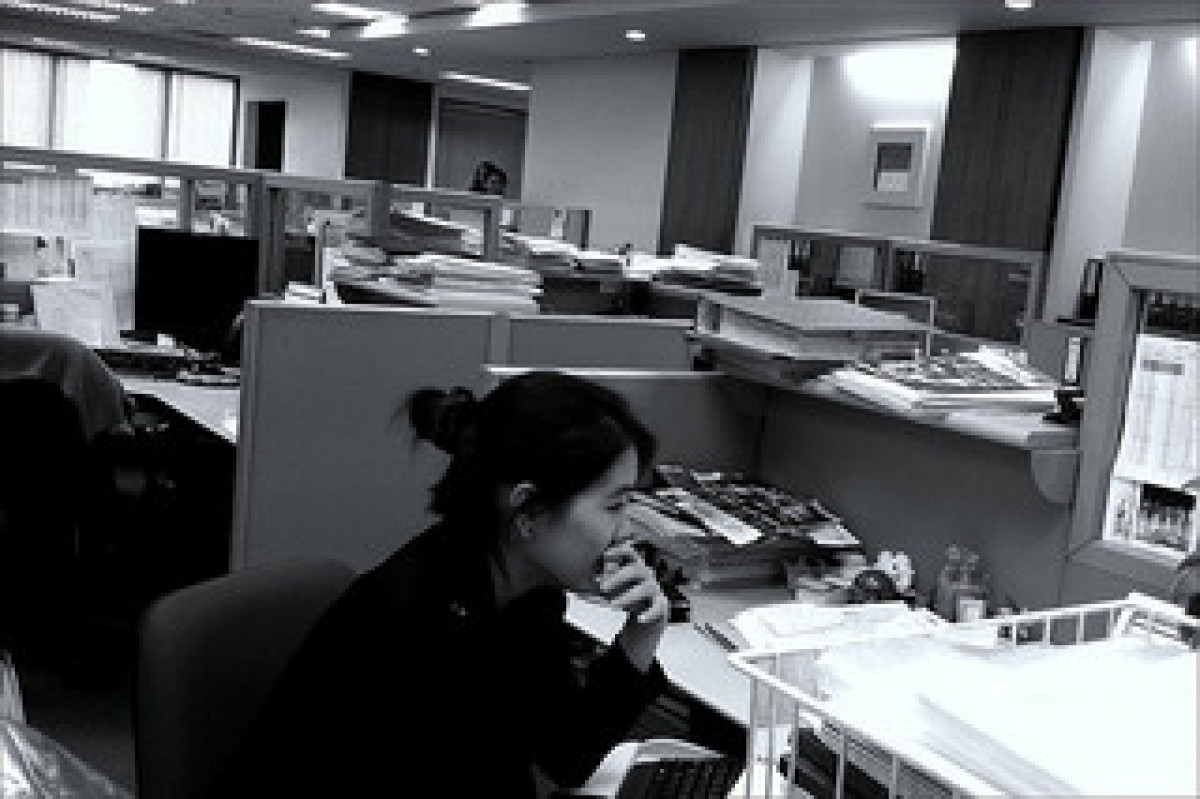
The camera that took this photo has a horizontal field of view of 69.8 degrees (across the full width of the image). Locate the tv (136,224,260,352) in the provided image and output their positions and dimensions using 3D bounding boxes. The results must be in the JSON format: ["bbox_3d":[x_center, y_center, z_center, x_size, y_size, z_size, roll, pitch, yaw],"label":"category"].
[{"bbox_3d":[-1.742,-0.451,3.773,0.565,0.538,0.129,7,6,10],"label":"tv"}]
